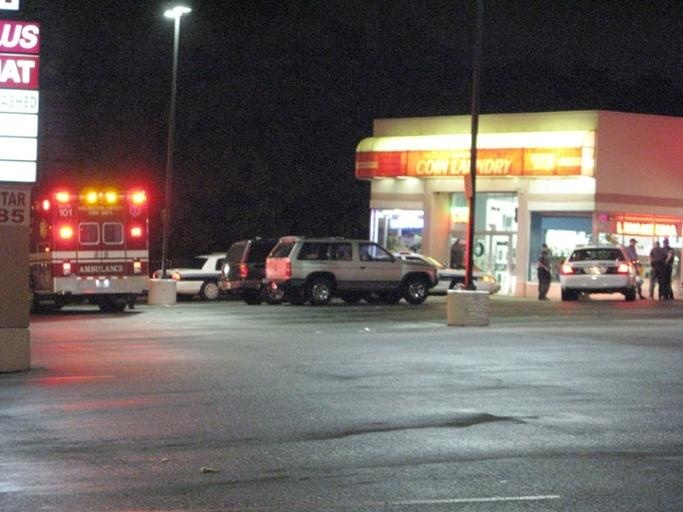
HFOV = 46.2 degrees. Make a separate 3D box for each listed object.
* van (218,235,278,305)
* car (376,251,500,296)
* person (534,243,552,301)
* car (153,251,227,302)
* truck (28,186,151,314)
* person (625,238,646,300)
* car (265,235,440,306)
[{"bbox_3d":[-3.373,0.451,28.231,2.631,1.547,1.459,-4,3,-37],"label":"van"},{"bbox_3d":[4.702,0.957,32.346,4.288,1.611,1.935,-1,2,-5],"label":"car"},{"bbox_3d":[7.830,0.623,30.859,0.448,2.127,1.121,1,-1,12],"label":"person"},{"bbox_3d":[-5.613,0.804,31.152,3.161,1.160,1.500,-4,3,-26],"label":"car"},{"bbox_3d":[-7.541,-0.197,24.064,2.414,2.292,4.126,1,1,-15],"label":"truck"},{"bbox_3d":[11.451,0.354,31.252,0.567,2.125,0.494,-4,2,42],"label":"person"},{"bbox_3d":[0.245,0.658,27.521,4.885,2.233,2.479,-3,2,-22],"label":"car"}]
